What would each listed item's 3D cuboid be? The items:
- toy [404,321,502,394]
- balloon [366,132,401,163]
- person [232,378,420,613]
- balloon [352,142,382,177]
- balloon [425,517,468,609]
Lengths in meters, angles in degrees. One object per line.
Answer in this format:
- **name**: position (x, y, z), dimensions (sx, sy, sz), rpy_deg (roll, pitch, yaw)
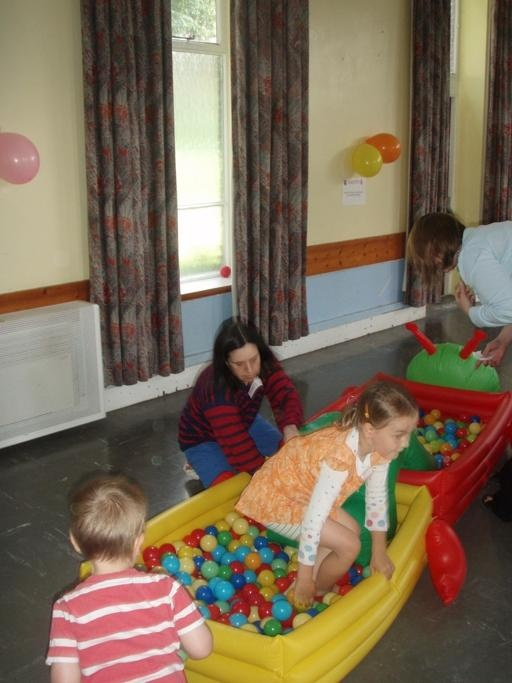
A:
- **toy**: position (1.106, 0.100, 3.110), dimensions (0.399, 0.385, 0.220), rpy_deg (13, 50, 26)
- **balloon**: position (1.041, -1.566, 4.503), dimensions (0.276, 0.196, 0.201), rpy_deg (16, 16, 7)
- **person**: position (0.187, 0.442, 1.548), dimensions (0.320, 0.711, 0.462), rpy_deg (-14, 18, -27)
- **balloon**: position (0.862, -1.424, 4.337), dimensions (0.225, 0.253, 0.187), rpy_deg (-1, 17, 15)
- **balloon**: position (0.573, 0.679, 1.681), dimensions (0.103, 0.221, 0.161), rpy_deg (-2, 16, 11)
